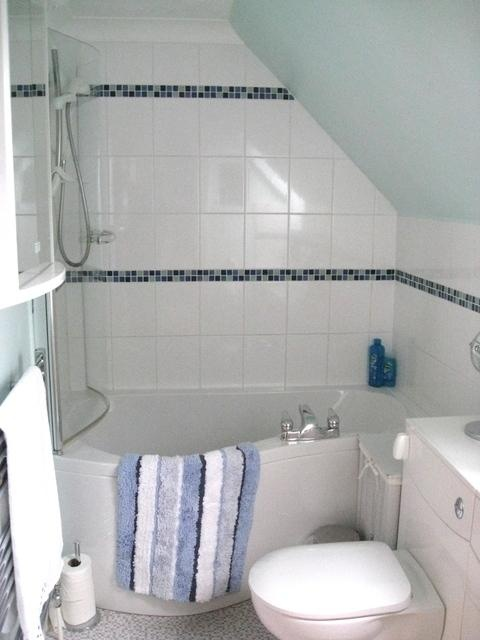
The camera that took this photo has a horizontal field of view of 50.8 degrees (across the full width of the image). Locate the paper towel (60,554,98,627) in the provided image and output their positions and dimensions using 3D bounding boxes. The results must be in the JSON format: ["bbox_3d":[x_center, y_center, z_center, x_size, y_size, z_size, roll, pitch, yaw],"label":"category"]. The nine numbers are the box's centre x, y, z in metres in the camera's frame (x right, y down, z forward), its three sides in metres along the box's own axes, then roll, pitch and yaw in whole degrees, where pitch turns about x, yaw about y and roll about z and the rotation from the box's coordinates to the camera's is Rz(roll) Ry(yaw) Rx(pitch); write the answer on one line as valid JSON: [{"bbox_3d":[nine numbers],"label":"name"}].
[{"bbox_3d":[-0.562,0.982,1.878,0.104,0.245,0.184,0,10,-9],"label":"paper towel"}]

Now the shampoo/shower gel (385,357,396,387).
[{"bbox_3d":[0.844,0.301,2.818,0.073,0.161,0.035,7,12,20],"label":"shampoo/shower gel"}]

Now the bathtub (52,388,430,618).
[{"bbox_3d":[-0.024,0.694,1.885,1.116,0.595,0.590,-1,13,-14],"label":"bathtub"}]
